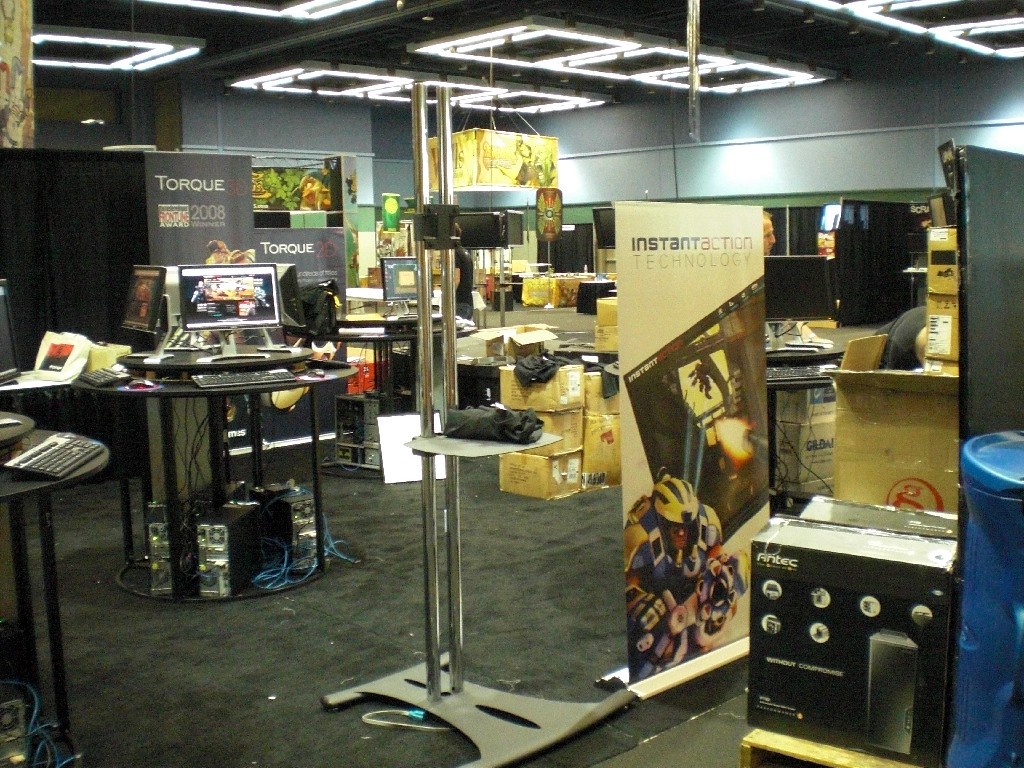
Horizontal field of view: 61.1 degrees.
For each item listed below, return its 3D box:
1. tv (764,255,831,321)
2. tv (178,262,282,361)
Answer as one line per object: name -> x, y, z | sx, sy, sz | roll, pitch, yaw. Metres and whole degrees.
tv -> 1.761, -0.590, 5.365 | 0.483, 0.448, 0.256 | -1, 0, 2
tv -> -1.505, -0.394, 4.615 | 0.561, 0.503, 0.189 | -3, 1, -26
